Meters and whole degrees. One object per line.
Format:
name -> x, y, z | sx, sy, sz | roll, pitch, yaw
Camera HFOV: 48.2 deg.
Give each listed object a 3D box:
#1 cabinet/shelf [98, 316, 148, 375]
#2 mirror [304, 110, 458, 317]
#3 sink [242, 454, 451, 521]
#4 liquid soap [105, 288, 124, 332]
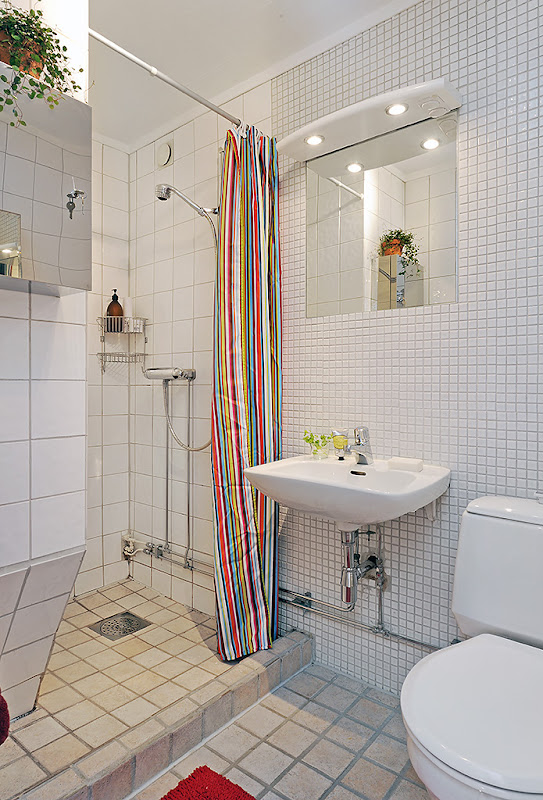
cabinet/shelf -> -0.744, -0.285, 3.017 | 0.240, 0.354, 0.252 | 6, 10, 29
mirror -> 0.379, -0.626, 1.995 | 0.015, 0.807, 0.723 | 1, -1, -42
sink -> 0.223, 0.293, 1.866 | 0.586, 0.180, 0.467 | 7, 3, 40
liquid soap -> -0.748, -0.427, 2.936 | 0.094, 0.191, 0.085 | 2, 3, -40
